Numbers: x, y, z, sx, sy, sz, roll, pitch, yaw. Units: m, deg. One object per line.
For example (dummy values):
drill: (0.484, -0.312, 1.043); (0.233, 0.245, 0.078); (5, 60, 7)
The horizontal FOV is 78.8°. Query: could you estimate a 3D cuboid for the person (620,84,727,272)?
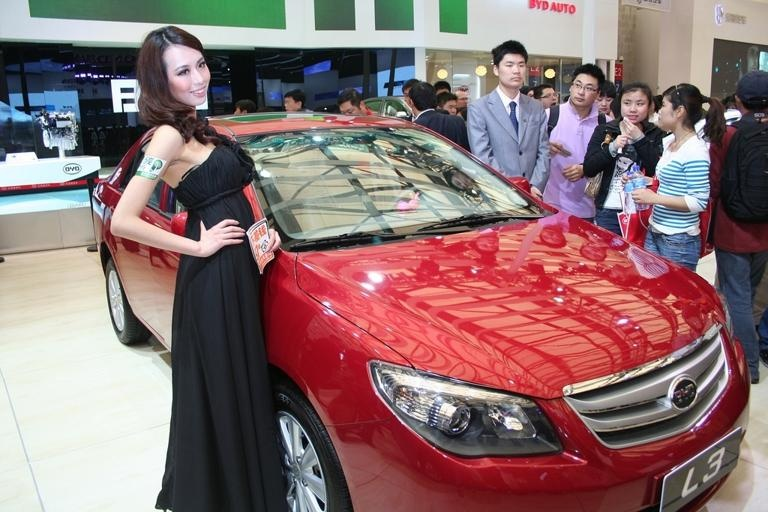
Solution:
person: (2.153, -0.309, 3.532); (0.642, 1.837, 0.594); (2, 30, 29)
